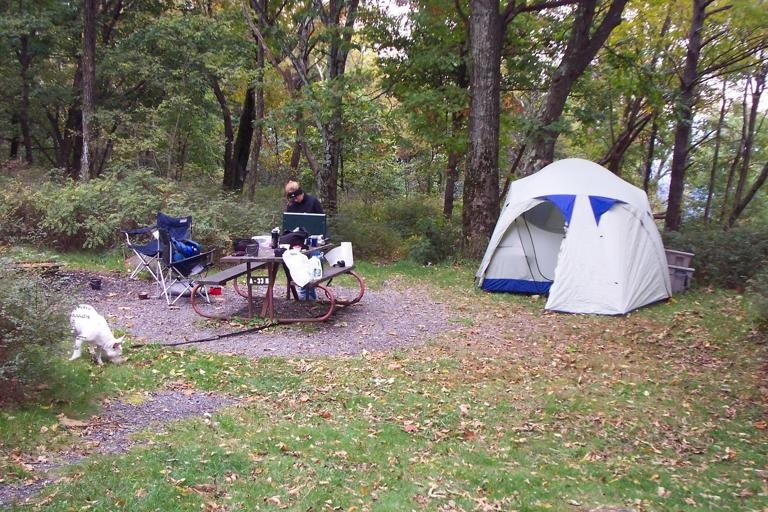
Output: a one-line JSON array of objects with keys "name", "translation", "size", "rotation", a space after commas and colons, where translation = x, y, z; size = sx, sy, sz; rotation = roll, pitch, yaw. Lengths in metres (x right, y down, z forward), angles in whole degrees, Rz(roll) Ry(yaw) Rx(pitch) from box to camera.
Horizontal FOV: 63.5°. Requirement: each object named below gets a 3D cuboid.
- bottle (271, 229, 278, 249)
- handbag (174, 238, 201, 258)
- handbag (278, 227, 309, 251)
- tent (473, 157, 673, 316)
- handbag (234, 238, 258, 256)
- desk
[{"name": "bottle", "translation": [-2.325, -0.372, 13.221], "size": [0.132, 0.420, 0.420], "rotation": [3, 6, -13]}, {"name": "handbag", "translation": [-4.661, -0.199, 14.607], "size": [0.424, 0.179, 0.399], "rotation": [17, 14, 21]}, {"name": "handbag", "translation": [-1.937, -0.393, 13.216], "size": [0.606, 0.426, 0.923], "rotation": [4, 6, -3]}, {"name": "tent", "translation": [4.613, -0.555, 14.830], "size": [3.908, 3.624, 1.987], "rotation": [8, 7, 29]}, {"name": "handbag", "translation": [-2.960, -0.185, 13.187], "size": [0.359, 0.209, 0.542], "rotation": [0, -2, 0]}, {"name": "desk", "translation": [-2.360, 0.413, 13.430], "size": [2.364, 1.117, 2.474], "rotation": [1, 7, 11]}]
